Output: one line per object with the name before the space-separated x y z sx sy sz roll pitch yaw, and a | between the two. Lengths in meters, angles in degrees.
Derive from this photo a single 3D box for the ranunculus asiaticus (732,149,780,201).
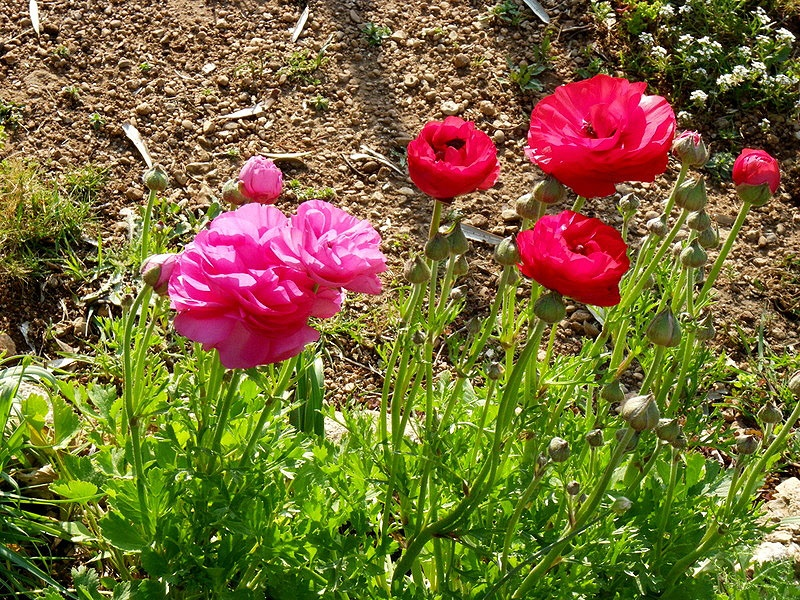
ranunculus asiaticus | 1.026 -0.360 2.474 0.127 0.152 0.139 -5 21 -14

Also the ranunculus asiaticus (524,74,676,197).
ranunculus asiaticus | 0.572 -0.458 2.388 0.509 0.217 0.506 -4 -3 18

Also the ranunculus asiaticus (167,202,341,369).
ranunculus asiaticus | -0.365 0.025 2.061 0.386 0.387 0.237 -14 -20 -9

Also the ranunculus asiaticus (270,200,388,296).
ranunculus asiaticus | -0.197 -0.103 2.137 0.310 0.154 0.315 -3 -25 43

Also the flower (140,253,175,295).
flower | -0.610 -0.079 2.222 0.083 0.098 0.098 1 -6 3
